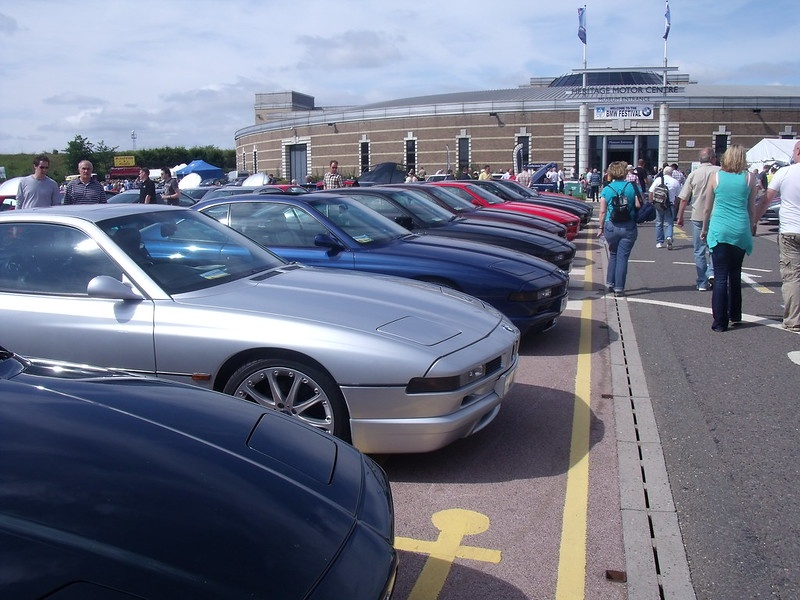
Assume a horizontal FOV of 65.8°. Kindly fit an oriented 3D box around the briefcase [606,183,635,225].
[{"bbox_3d":[3.279,-1.495,9.377,0.554,0.542,0.323,-11,34,-6],"label":"briefcase"}]

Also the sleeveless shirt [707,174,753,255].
[{"bbox_3d":[3.948,-1.071,7.517,0.676,0.984,0.440,-1,9,2],"label":"sleeveless shirt"}]

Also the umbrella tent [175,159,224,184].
[{"bbox_3d":[-16.347,-10.284,49.532,4.173,1.516,4.093,6,10,38],"label":"umbrella tent"}]

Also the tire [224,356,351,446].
[{"bbox_3d":[-0.603,0.556,3.475,0.754,0.570,0.214,0,2,8],"label":"tire"}]

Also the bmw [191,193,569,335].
[{"bbox_3d":[-0.157,-0.341,6.835,4.270,0.880,1.664,3,8,6],"label":"bmw"}]
